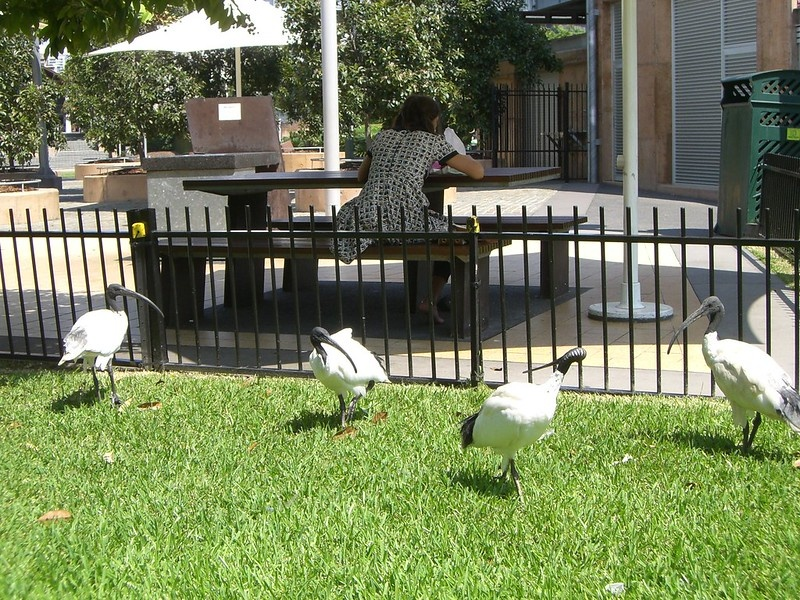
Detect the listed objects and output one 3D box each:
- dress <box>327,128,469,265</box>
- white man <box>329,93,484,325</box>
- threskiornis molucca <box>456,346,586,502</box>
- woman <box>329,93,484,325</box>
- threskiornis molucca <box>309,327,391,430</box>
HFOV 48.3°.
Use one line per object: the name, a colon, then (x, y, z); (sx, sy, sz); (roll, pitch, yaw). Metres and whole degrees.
dress: (-0.046, -0.999, 8.695); (0.949, 1.640, 1.364); (13, 23, 27)
white man: (0.052, -0.966, 9.002); (1.262, 2.199, 1.048); (-1, 15, -28)
threskiornis molucca: (0.741, 0.753, 5.459); (0.647, 1.069, 0.500); (5, 3, 10)
woman: (0.060, -0.943, 8.960); (1.293, 2.233, 1.042); (1, 13, -20)
threskiornis molucca: (-0.384, 0.516, 6.457); (0.382, 0.701, 0.824); (5, 10, 31)
